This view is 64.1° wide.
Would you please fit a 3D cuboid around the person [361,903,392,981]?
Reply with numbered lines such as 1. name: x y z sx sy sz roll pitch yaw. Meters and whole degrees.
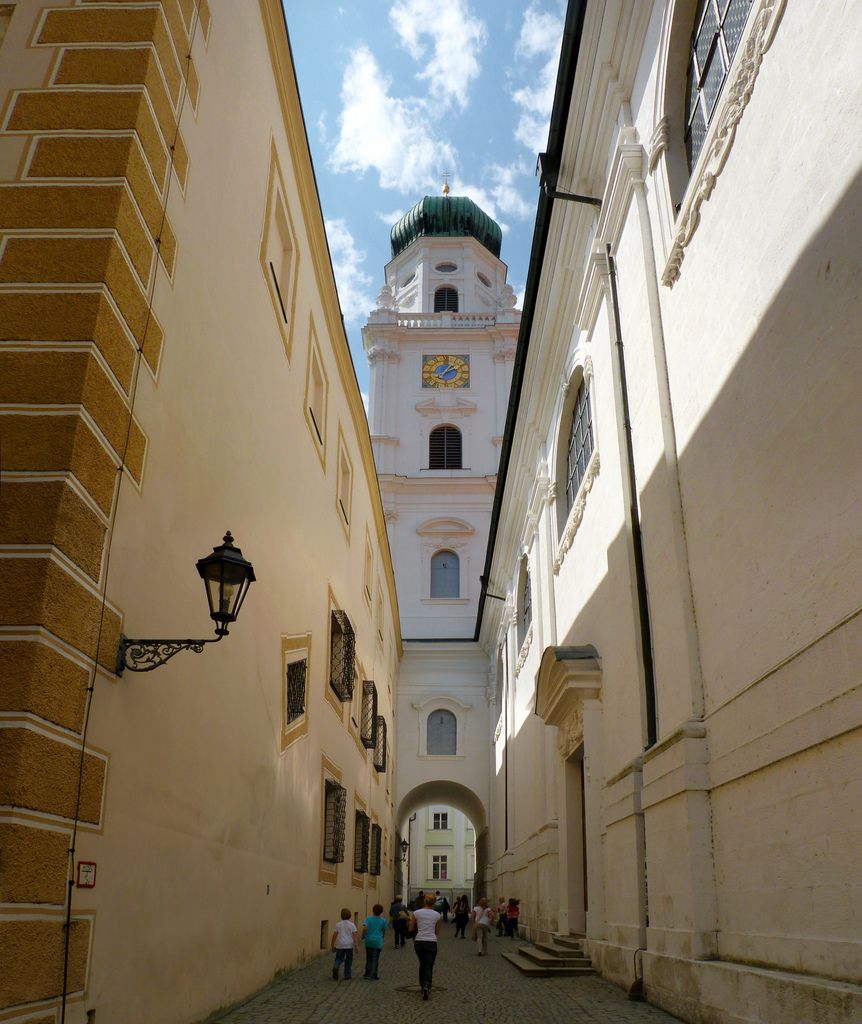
1. person: -0.825 6.151 9.841 0.236 0.923 0.297 3 -46 3
